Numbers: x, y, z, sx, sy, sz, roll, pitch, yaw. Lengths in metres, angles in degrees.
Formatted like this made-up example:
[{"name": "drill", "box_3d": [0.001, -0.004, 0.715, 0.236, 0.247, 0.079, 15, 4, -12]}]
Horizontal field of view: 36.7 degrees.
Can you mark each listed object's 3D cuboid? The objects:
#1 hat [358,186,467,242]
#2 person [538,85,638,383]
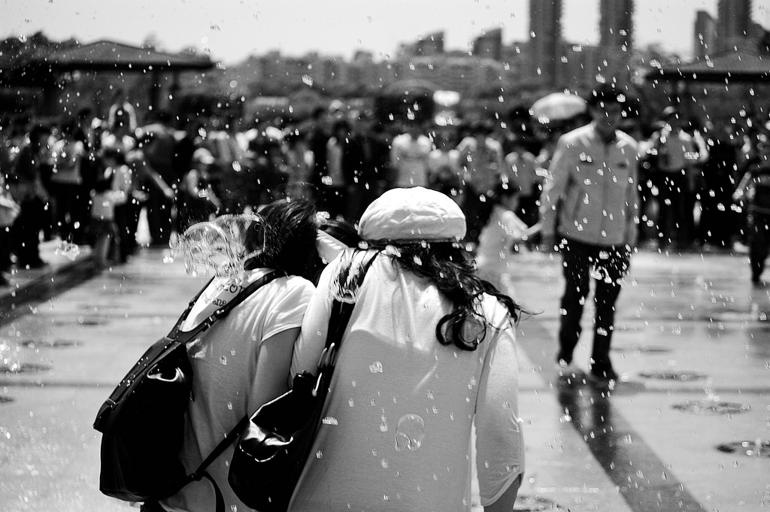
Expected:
[{"name": "hat", "box_3d": [0.169, -0.337, 7.713, 0.485, 0.296, 0.392, -3, 4, -9]}, {"name": "person", "box_3d": [2.099, -0.293, 11.972, 0.975, 2.919, 0.939, 3, 10, 14]}]
